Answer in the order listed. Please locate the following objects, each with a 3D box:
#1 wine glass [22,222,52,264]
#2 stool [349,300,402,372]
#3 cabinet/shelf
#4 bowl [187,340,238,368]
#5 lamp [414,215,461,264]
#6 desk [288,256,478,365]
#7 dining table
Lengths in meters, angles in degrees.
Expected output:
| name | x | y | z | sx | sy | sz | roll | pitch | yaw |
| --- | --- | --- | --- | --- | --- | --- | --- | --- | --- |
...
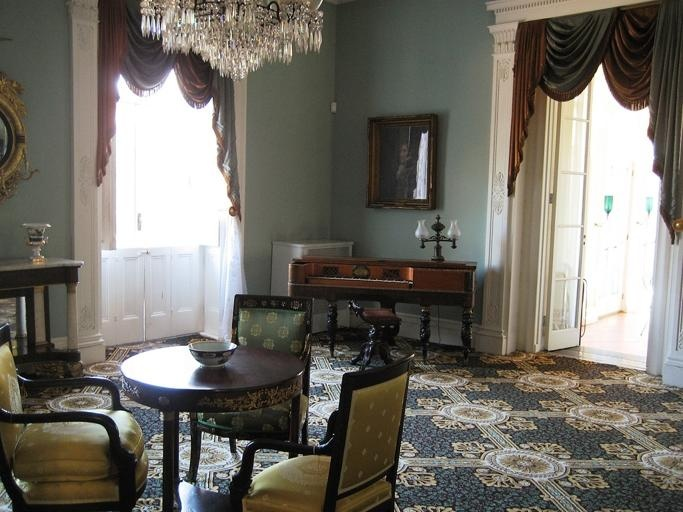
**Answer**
| name | x | y | z | sx | sy | sz | roll | pitch | yaw |
| --- | --- | --- | --- | --- | --- | --- | --- | --- | --- |
| wine glass | -2.691 | -0.134 | 4.887 | 0.185 | 0.335 | 0.537 | -3 | 10 | -29 |
| stool | 0.416 | 0.821 | 5.848 | 0.620 | 0.810 | 0.596 | 1 | -2 | -19 |
| cabinet/shelf | -0.331 | 0.274 | 5.688 | 0.989 | 0.976 | 0.557 | -7 | 14 | -41 |
| bowl | -0.696 | 0.523 | 3.025 | 0.169 | 0.067 | 0.162 | 3 | 4 | 0 |
| lamp | 1.112 | -0.200 | 6.305 | 0.552 | 0.629 | 0.175 | 0 | -2 | -7 |
| desk | 0.444 | 0.530 | 6.098 | 1.881 | 1.115 | 0.775 | 1 | 7 | 8 |
| dining table | -0.670 | 0.722 | 3.055 | 0.827 | 0.690 | 0.912 | 3 | 8 | 12 |
